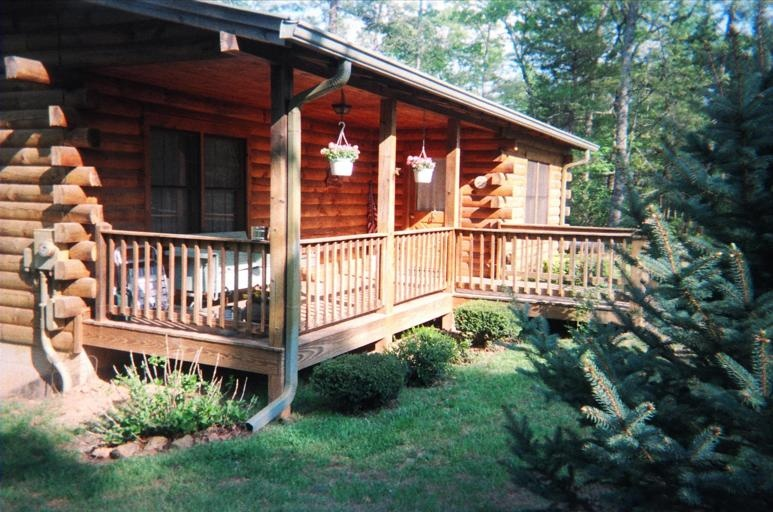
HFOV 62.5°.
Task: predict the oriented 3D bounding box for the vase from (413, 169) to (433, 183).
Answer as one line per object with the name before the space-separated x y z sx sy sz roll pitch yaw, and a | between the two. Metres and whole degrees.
vase | 0.645 -1.396 11.094 0.349 0.225 0.349 0 5 1

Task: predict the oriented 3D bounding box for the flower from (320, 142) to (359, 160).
flower | -0.691 -1.580 9.576 0.447 0.252 0.691 -3 11 -13

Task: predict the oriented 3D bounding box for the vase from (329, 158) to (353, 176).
vase | -0.661 -1.315 9.477 0.379 0.231 0.380 0 -2 2

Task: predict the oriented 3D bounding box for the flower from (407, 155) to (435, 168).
flower | 0.568 -1.638 11.153 0.396 0.215 0.511 0 4 -27
